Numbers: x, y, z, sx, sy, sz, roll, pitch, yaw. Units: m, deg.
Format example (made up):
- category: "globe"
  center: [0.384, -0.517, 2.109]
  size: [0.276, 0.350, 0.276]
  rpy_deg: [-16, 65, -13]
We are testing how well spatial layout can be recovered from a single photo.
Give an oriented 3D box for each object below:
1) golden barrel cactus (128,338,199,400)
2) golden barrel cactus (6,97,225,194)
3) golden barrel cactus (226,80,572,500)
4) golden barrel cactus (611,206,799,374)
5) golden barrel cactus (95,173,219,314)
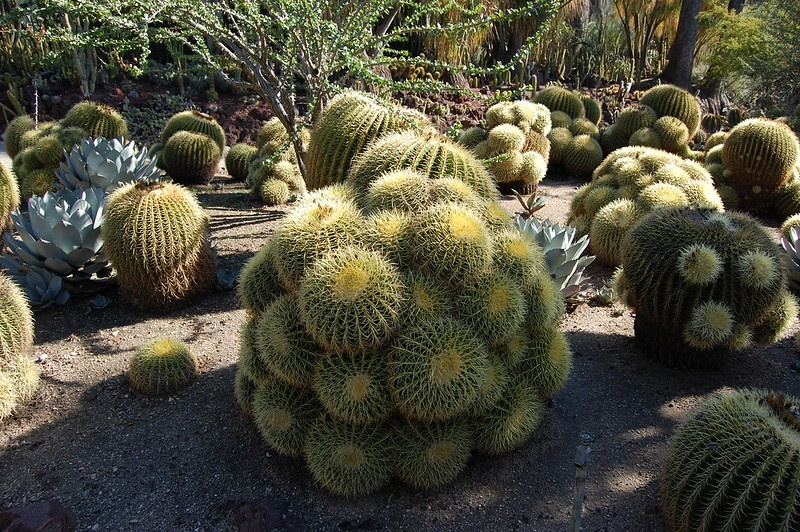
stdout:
- category: "golden barrel cactus"
  center: [-2.012, 0.904, 5.332]
  size: [0.583, 0.360, 0.651]
  rpy_deg: [-1, 7, -18]
- category: "golden barrel cactus"
  center: [-3.889, -2.036, 8.792]
  size: [2.919, 1.344, 1.687]
  rpy_deg: [-10, 8, -25]
- category: "golden barrel cactus"
  center: [-0.044, 0.095, 5.213]
  size: [1.955, 1.569, 2.734]
  rpy_deg: [1, 26, -4]
- category: "golden barrel cactus"
  center: [2.695, 0.044, 5.652]
  size: [1.388, 1.427, 1.357]
  rpy_deg: [-12, 18, -23]
- category: "golden barrel cactus"
  center: [-2.329, -0.304, 6.299]
  size: [1.148, 1.196, 1.146]
  rpy_deg: [-13, 30, -19]
